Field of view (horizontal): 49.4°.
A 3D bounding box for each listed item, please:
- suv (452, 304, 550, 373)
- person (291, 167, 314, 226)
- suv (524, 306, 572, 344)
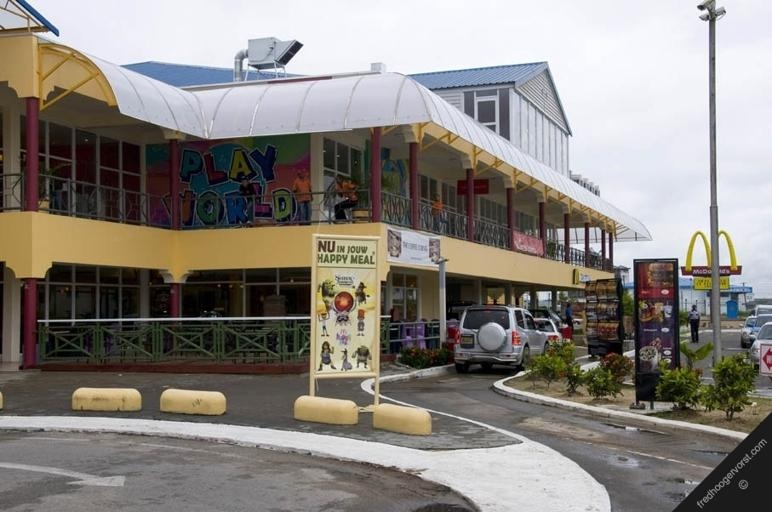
[{"bbox_3d":[3.853,2.538,27.973,1.593,1.539,3.341,-1,1,22],"label":"suv"},{"bbox_3d":[-3.018,-2.065,30.360,0.652,2.032,1.306,-1,-8,-6],"label":"person"},{"bbox_3d":[7.577,2.977,38.360,1.690,1.321,3.802,0,0,17],"label":"suv"}]
